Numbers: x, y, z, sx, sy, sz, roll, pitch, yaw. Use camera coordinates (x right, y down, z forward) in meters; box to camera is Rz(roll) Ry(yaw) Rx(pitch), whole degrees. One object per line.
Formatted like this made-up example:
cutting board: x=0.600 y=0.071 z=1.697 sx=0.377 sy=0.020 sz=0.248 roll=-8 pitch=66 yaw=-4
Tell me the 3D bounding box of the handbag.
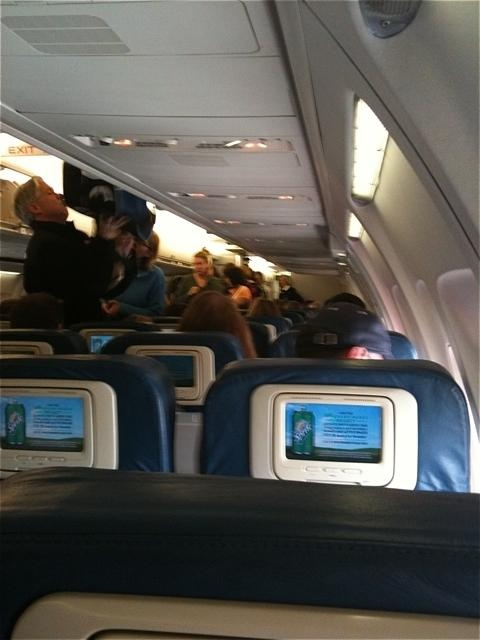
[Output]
handbag: x=-2.034 y=-1.815 z=9.172 sx=0.895 sy=0.454 sz=1.270 roll=16 pitch=-9 yaw=46
